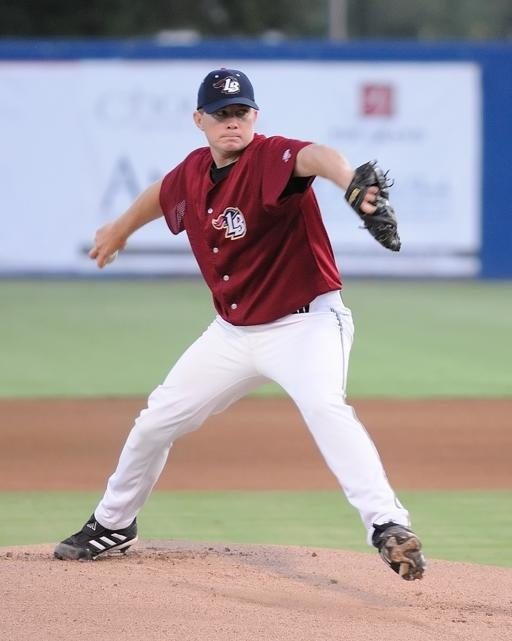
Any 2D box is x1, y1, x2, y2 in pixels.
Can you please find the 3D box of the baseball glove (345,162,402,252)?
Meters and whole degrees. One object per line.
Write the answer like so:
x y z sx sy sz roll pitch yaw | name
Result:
0.322 -0.317 2.535 0.158 0.245 0.269 5 6 6 | baseball glove

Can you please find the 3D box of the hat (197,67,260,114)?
-0.100 -0.745 2.980 0.190 0.114 0.228 -10 31 -17 | hat

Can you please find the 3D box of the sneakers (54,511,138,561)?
-0.566 0.750 3.244 0.306 0.115 0.108 -3 6 -38 | sneakers

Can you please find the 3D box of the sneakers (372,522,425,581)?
0.404 0.632 2.603 0.105 0.093 0.195 7 25 -37 | sneakers
